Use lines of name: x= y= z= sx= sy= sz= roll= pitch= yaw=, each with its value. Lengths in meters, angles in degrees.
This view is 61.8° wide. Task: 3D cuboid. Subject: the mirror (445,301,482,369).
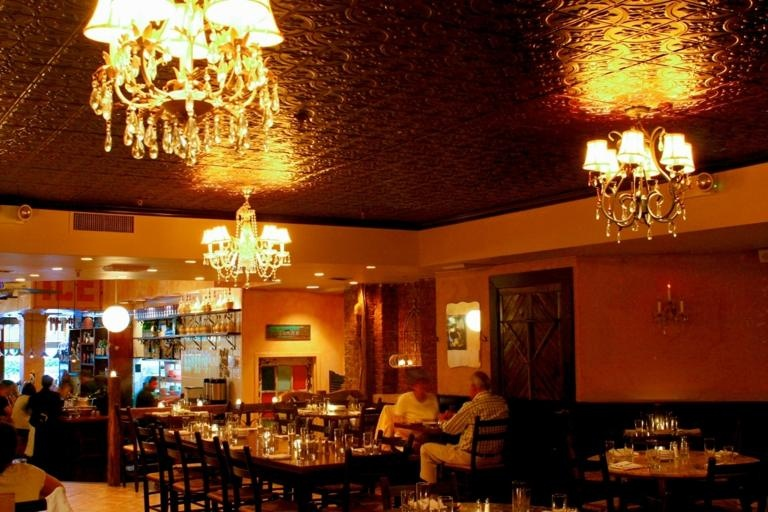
mirror: x=1.360 y=1.347 z=11.038 sx=0.150 sy=1.112 sz=0.836 roll=3 pitch=-11 yaw=-32

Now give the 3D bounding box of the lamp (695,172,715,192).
lamp: x=3.666 y=-0.847 z=7.381 sx=0.065 sy=0.213 sz=0.192 roll=5 pitch=-12 yaw=-41

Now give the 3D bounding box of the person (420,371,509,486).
person: x=1.019 y=2.231 z=8.373 sx=1.183 sy=1.390 sz=0.719 roll=-3 pitch=-9 yaw=6

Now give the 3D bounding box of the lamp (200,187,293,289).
lamp: x=-1.884 y=-0.285 z=8.846 sx=1.282 sy=1.033 sz=1.170 roll=-1 pitch=3 yaw=-23

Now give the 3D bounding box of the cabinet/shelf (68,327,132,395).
cabinet/shelf: x=-7.168 y=2.655 z=16.427 sx=2.534 sy=1.958 sz=0.725 roll=-8 pitch=-13 yaw=40

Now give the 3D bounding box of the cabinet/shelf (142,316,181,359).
cabinet/shelf: x=-6.002 y=2.165 z=16.770 sx=0.500 sy=1.075 sz=1.405 roll=-9 pitch=-9 yaw=27

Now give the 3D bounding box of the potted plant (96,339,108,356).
potted plant: x=-7.527 y=2.455 z=17.236 sx=0.469 sy=0.389 sz=0.263 roll=-11 pitch=-17 yaw=43

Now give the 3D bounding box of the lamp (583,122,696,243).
lamp: x=2.692 y=-0.781 z=6.678 sx=1.187 sy=1.079 sz=1.096 roll=6 pitch=-8 yaw=-36

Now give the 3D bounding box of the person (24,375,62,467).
person: x=-5.793 y=2.852 z=11.017 sx=0.507 sy=1.569 sz=0.313 roll=2 pitch=-10 yaw=-27

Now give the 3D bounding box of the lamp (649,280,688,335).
lamp: x=3.949 y=0.771 z=9.342 sx=0.727 sy=0.903 sz=0.699 roll=-2 pitch=-5 yaw=30

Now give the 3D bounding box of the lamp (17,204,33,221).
lamp: x=-4.667 y=-0.563 z=8.381 sx=0.172 sy=0.199 sz=0.272 roll=2 pitch=-10 yaw=-27
